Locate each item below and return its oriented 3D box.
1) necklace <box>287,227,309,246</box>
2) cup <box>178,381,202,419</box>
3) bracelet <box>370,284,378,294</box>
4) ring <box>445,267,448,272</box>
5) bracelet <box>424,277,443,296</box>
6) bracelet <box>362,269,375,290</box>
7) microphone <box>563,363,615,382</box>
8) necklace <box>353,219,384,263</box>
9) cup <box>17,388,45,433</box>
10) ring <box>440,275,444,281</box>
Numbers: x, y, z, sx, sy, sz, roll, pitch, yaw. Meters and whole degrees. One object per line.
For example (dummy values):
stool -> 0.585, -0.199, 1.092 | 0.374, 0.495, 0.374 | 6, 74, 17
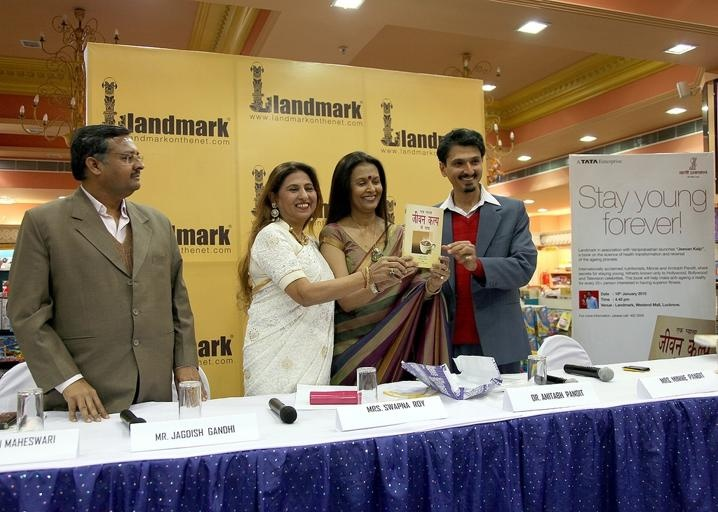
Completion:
necklace -> -0.322, -0.106, 2.761 | 0.037, 0.104, 0.075 | -44, 2, 11
cup -> -0.631, 0.534, 1.965 | 0.084, 0.127, 0.109 | 1, 2, -4
bracelet -> 0.079, 0.170, 2.724 | 0.017, 0.037, 0.080 | -13, -25, -1
ring -> 0.472, 0.073, 2.834 | 0.020, 0.021, 0.005 | -27, 15, 21
bracelet -> 0.412, 0.169, 2.901 | 0.076, 0.099, 0.106 | 3, -20, -4
bracelet -> 0.057, 0.121, 2.652 | 0.063, 0.088, 0.041 | 12, 38, 39
microphone -> 1.125, 0.553, 2.581 | 0.070, 0.074, 0.231 | 16, -7, -35
necklace -> 0.078, -0.087, 2.964 | 0.134, 0.231, 0.054 | 6, -33, -3
cup -> -1.167, 0.555, 1.864 | 0.077, 0.121, 0.160 | -1, 2, -34
ring -> 0.451, 0.120, 2.860 | 0.023, 0.024, 0.007 | 6, 11, 25
